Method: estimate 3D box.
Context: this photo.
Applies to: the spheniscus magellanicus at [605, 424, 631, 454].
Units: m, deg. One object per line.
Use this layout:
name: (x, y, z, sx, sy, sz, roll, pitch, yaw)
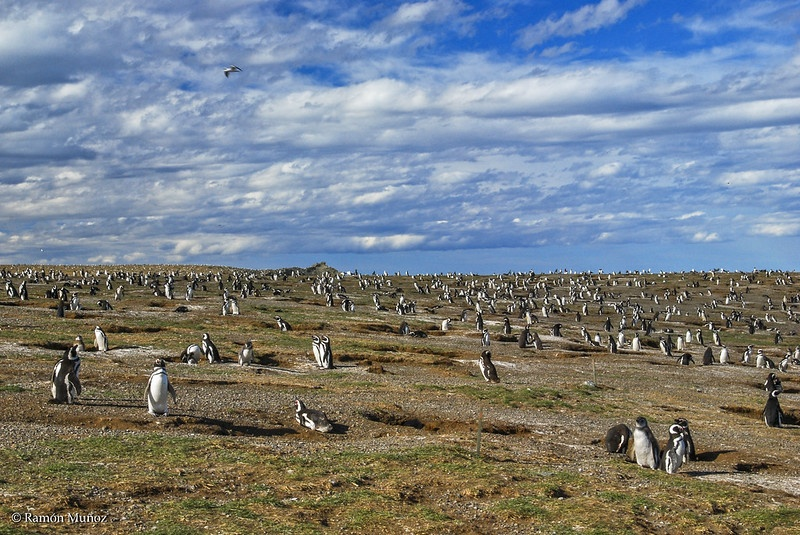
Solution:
spheniscus magellanicus: (8.796, 6.800, 33.427, 0.916, 1.148, 0.487, 7, 8, 8)
